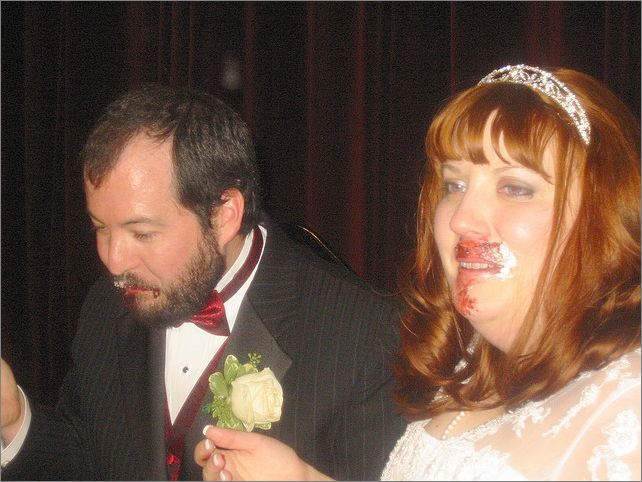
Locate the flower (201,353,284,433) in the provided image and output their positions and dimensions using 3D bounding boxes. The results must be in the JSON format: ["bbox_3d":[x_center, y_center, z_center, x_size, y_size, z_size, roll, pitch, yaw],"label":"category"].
[{"bbox_3d":[-0.283,0.583,2.726,0.299,0.176,0.334,2,7,-39],"label":"flower"}]
